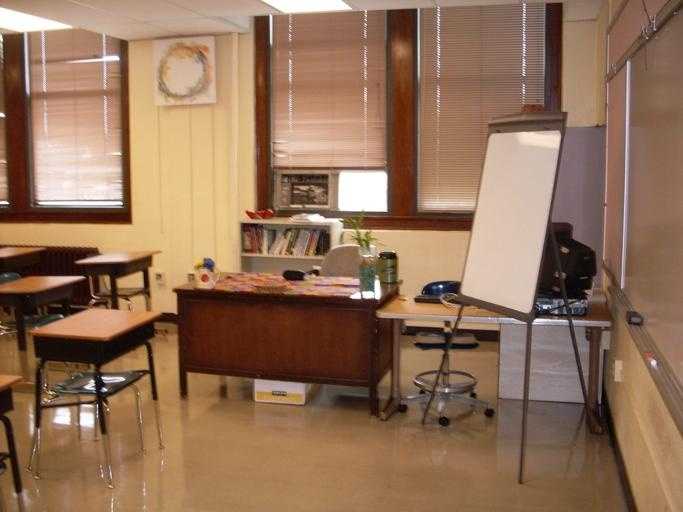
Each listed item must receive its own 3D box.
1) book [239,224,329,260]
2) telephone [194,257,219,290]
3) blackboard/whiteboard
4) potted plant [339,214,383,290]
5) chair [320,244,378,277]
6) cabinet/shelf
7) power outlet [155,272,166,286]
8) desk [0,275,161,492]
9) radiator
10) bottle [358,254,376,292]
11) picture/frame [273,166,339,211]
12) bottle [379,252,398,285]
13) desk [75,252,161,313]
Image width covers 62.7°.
[{"bbox_3d":[-0.694,-0.188,6.934,1.167,0.382,0.244,2,11,14],"label":"book"},{"bbox_3d":[-1.184,0.173,5.040,0.307,0.265,0.192,2,-5,-35],"label":"telephone"},{"bbox_3d":[1.174,-0.299,3.929,0.400,1.361,0.859,-7,12,-25],"label":"blackboard/whiteboard"},{"bbox_3d":[0.206,0.025,4.828,0.380,0.590,0.369,-7,-9,20],"label":"potted plant"},{"bbox_3d":[0.069,0.056,5.601,0.371,0.431,0.404,0,2,13],"label":"chair"},{"bbox_3d":[-0.596,-0.146,6.740,0.752,0.601,0.225,1,6,14],"label":"cabinet/shelf"},{"bbox_3d":[-2.395,0.307,7.378,0.200,0.172,0.098,2,5,17],"label":"power outlet"},{"bbox_3d":[-1.895,0.881,4.551,1.171,1.494,1.356,3,6,6],"label":"desk"},{"bbox_3d":[-3.299,0.253,6.553,0.932,0.550,0.063,0,3,7],"label":"radiator"},{"bbox_3d":[0.217,0.146,4.722,0.126,0.312,0.195,-1,11,0],"label":"bottle"},{"bbox_3d":[-0.488,-0.774,7.088,0.931,0.505,0.024,4,10,28],"label":"picture/frame"},{"bbox_3d":[0.424,0.126,5.169,0.209,0.265,0.190,5,8,36],"label":"bottle"},{"bbox_3d":[-2.567,0.156,6.603,0.754,0.848,0.999,2,9,9],"label":"desk"}]
